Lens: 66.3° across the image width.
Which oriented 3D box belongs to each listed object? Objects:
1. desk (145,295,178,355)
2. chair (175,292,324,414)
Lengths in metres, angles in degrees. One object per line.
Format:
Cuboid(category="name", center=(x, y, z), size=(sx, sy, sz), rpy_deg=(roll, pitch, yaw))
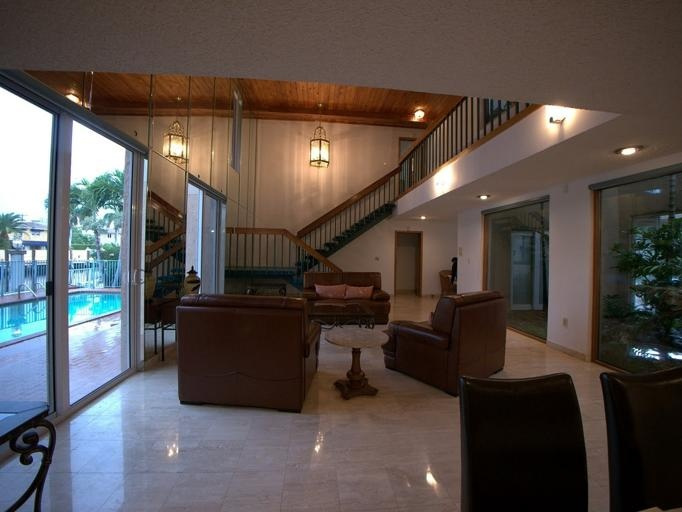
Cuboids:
Cuboid(category="desk", center=(-2.080, 0.842, 6.091), size=(0.262, 0.720, 0.805), rpy_deg=(2, 0, -11))
Cuboid(category="chair", center=(-0.857, 0.793, 5.245), size=(1.181, 0.990, 1.075), rpy_deg=(1, 1, 5))
